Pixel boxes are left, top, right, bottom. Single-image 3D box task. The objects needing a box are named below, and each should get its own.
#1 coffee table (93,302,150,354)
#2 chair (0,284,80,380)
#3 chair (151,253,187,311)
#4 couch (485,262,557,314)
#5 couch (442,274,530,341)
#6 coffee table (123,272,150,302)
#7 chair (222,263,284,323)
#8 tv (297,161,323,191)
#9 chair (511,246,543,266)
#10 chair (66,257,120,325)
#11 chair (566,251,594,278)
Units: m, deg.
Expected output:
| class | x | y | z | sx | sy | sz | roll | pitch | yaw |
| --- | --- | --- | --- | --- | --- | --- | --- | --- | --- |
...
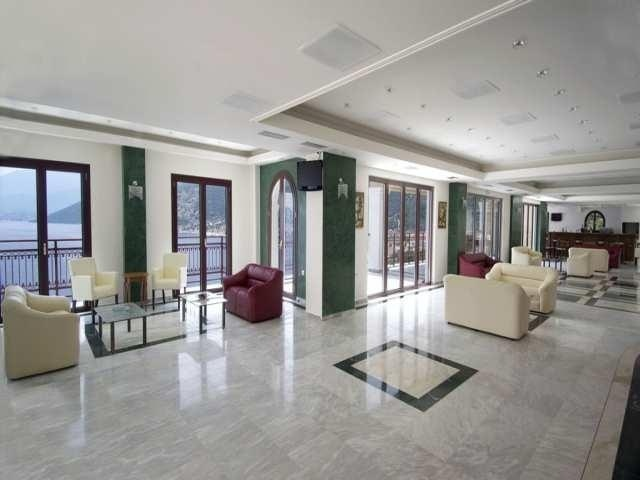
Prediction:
| class | x | y | z | sx | sy | sz | roll | pitch | yaw |
| --- | --- | --- | --- | --- | --- | --- | --- | --- | --- |
| coffee table | -3.387 | 1.473 | 7.089 | 0.733 | 0.554 | 1.033 | -4 | 8 | -42 |
| chair | -4.220 | 1.345 | 6.497 | 1.122 | 1.497 | 1.596 | -2 | 5 | -35 |
| chair | -3.227 | 0.856 | 9.006 | 0.807 | 1.124 | 0.812 | 0 | 0 | 38 |
| couch | 4.462 | 1.042 | 9.226 | 1.351 | 0.983 | 0.829 | 4 | 3 | 35 |
| couch | 3.112 | 1.097 | 7.728 | 1.479 | 1.127 | 0.835 | 11 | 24 | 44 |
| coffee table | -3.857 | 1.013 | 8.725 | 0.561 | 0.752 | 0.602 | -2 | 2 | -41 |
| chair | -1.410 | 1.066 | 8.587 | 0.776 | 1.018 | 1.167 | -3 | 7 | -44 |
| tv | -0.178 | -1.122 | 8.187 | 0.471 | 0.114 | 0.498 | -5 | 38 | -13 |
| chair | 6.654 | 0.536 | 13.383 | 0.492 | 0.667 | 0.673 | -1 | 1 | 45 |
| chair | -4.442 | 0.919 | 8.119 | 0.678 | 1.112 | 0.695 | -1 | 4 | 9 |
| chair | 8.465 | 0.819 | 13.493 | 0.741 | 0.908 | 0.893 | 2 | 3 | 35 |
